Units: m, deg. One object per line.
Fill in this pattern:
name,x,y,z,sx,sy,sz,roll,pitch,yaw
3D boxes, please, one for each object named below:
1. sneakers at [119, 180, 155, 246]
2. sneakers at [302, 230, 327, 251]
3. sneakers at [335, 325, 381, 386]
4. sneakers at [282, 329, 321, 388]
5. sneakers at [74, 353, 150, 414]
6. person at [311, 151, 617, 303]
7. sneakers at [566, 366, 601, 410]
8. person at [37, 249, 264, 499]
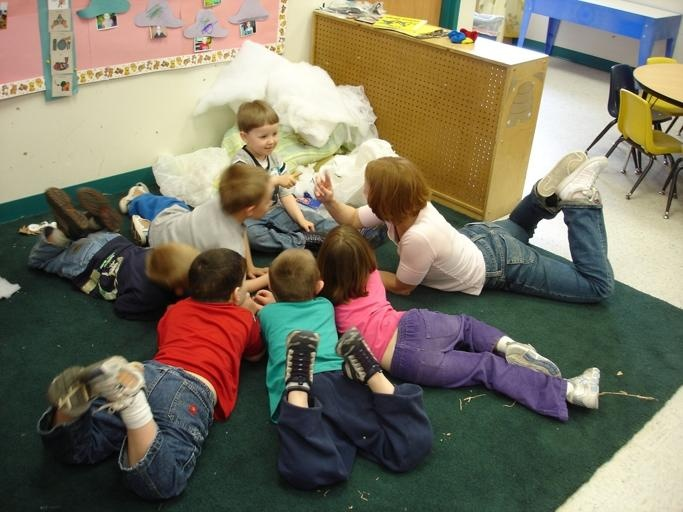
sneakers,-1.154,-0.227,2.728,0.126,0.153,0.388,-16,65,-12
sneakers,-0.163,-0.079,2.689,0.071,0.065,0.184,20,17,34
sneakers,0.060,0.347,1.703,0.108,0.248,0.093,29,58,32
sneakers,-0.145,0.368,1.716,0.074,0.234,0.090,2,-4,-2
sneakers,-0.681,0.377,1.481,0.181,0.141,0.082,30,-4,-7
person,0.624,-0.144,2.549,1.308,0.667,0.790,-4,20,-4
sneakers,0.991,0.526,2.067,0.108,0.088,0.245,6,16,5
person,-0.585,0.329,1.925,0.455,0.452,1.035,18,37,8
